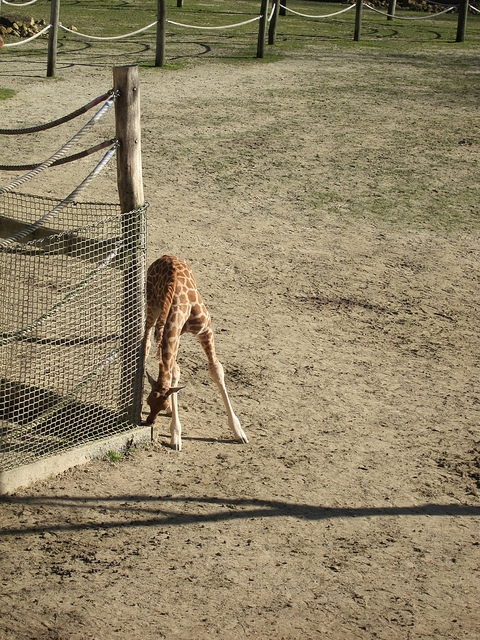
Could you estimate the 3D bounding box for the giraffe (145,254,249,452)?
[{"bbox_3d":[-0.282,0.198,5.931,0.616,1.050,0.964,4,16,-6],"label":"giraffe"}]
